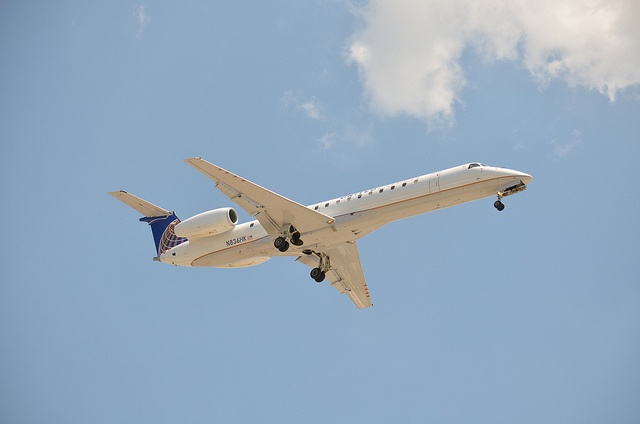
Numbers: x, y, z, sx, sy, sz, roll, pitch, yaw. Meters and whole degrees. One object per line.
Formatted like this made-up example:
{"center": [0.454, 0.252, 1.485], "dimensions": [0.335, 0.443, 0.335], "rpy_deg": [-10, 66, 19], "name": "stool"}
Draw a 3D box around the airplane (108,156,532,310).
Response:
{"center": [-0.760, 1.339, 43.404], "dimensions": [15.744, 8.374, 6.584], "rpy_deg": [-1, -50, -5], "name": "airplane"}
